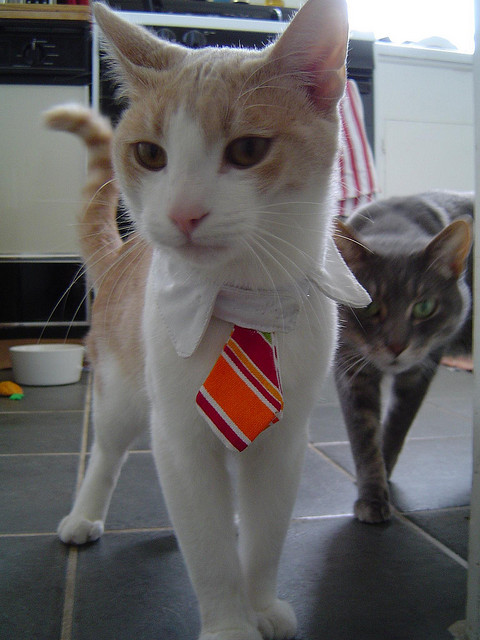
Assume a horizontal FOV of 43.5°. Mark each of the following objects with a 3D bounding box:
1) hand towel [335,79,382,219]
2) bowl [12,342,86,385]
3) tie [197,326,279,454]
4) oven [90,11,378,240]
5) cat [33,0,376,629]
[{"bbox_3d":[0.359,-0.623,2.003,0.164,0.453,0.204,1,-12,-13],"label":"hand towel"},{"bbox_3d":[-0.618,0.139,1.990,0.272,0.115,0.277,0,-6,0],"label":"bowl"},{"bbox_3d":[0.006,0.075,0.665,0.100,0.019,0.143,33,39,-9],"label":"tie"},{"bbox_3d":[0.063,-0.725,2.318,1.123,0.698,0.610,11,14,23],"label":"oven"},{"bbox_3d":[-0.097,-0.022,0.805,0.463,0.748,0.267,7,9,43],"label":"cat"}]
